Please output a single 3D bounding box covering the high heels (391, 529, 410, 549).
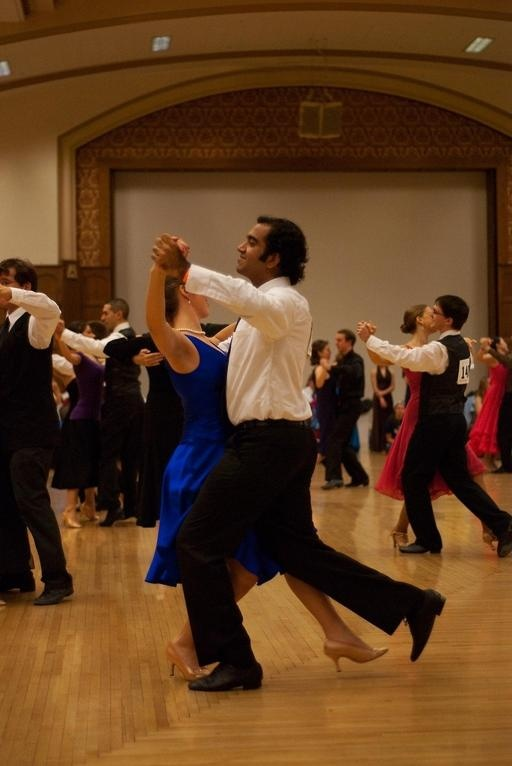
[{"bbox_3d":[0.994,1.061,4.335,0.141,0.172,0.192,0,-6,4],"label":"high heels"}]

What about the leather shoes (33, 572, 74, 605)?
[{"bbox_3d":[-0.941,0.993,2.976,0.079,0.106,0.220,-13,-6,23],"label":"leather shoes"}]

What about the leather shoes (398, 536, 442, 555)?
[{"bbox_3d":[1.106,1.096,4.170,0.278,0.106,0.105,2,-5,11],"label":"leather shoes"}]

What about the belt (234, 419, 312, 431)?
[{"bbox_3d":[0.064,0.120,1.800,0.239,0.035,0.182,1,-9,-8],"label":"belt"}]

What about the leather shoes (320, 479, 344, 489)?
[{"bbox_3d":[0.936,1.255,7.627,0.304,0.126,0.099,-5,-19,-19],"label":"leather shoes"}]

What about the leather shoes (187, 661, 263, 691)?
[{"bbox_3d":[-0.081,0.841,1.809,0.232,0.088,0.081,2,-9,-4],"label":"leather shoes"}]

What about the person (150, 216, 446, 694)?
[{"bbox_3d":[0.040,0.273,1.788,0.875,1.211,0.439,8,-12,-42],"label":"person"}]
